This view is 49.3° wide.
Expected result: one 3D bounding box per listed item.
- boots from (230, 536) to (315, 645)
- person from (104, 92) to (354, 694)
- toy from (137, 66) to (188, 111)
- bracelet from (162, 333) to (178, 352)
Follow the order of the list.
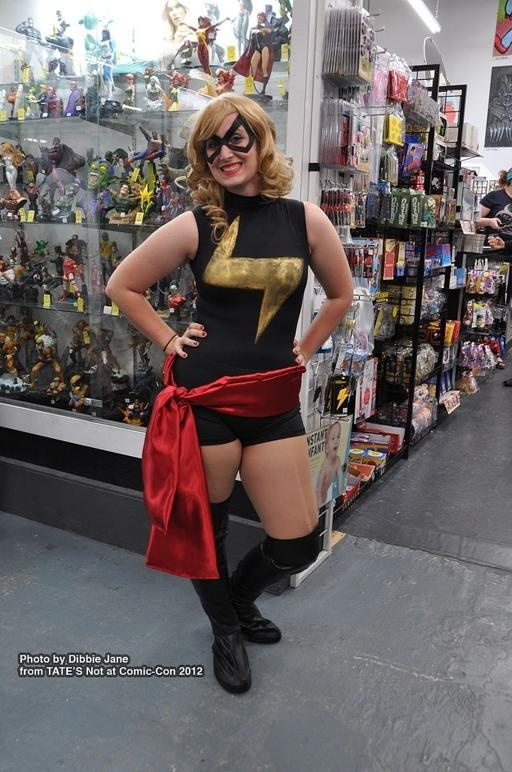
[{"bbox_3d":[-0.004,0.591,1.597,0.180,0.238,0.132,19,27,28],"label":"boots"},{"bbox_3d":[-0.048,0.073,1.345,0.492,1.414,0.372,-5,9,-43],"label":"person"},{"bbox_3d":[-0.357,-1.164,2.169,0.190,0.131,0.111,16,61,-1],"label":"toy"},{"bbox_3d":[-0.207,-0.095,1.291,0.011,0.038,0.040,41,17,-24],"label":"bracelet"}]
